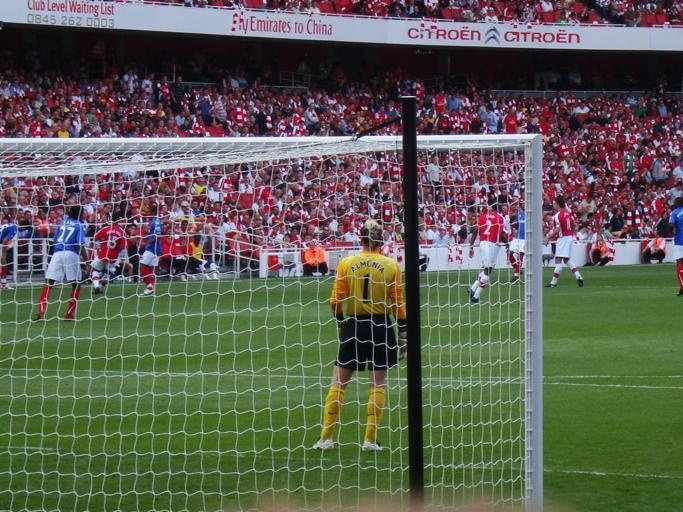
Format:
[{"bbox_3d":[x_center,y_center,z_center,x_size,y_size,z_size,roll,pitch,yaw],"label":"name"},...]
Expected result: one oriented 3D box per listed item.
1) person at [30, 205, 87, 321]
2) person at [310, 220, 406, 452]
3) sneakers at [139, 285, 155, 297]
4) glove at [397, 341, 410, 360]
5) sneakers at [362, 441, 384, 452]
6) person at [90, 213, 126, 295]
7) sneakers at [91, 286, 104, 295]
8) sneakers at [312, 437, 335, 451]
[{"bbox_3d":[-5.082,0.094,23.061,0.931,1.508,0.940,-1,1,-15],"label":"person"},{"bbox_3d":[0.311,1.092,17.944,1.181,3.205,0.456,-1,1,-2],"label":"person"},{"bbox_3d":[-3.833,0.657,25.327,0.151,0.215,0.433,0,1,-27],"label":"sneakers"},{"bbox_3d":[0.872,1.320,17.915,0.144,0.221,0.270,0,14,9],"label":"glove"},{"bbox_3d":[0.447,2.633,18.130,0.284,0.160,0.122,3,-1,-12],"label":"sneakers"},{"bbox_3d":[-4.628,-0.054,25.485,0.692,1.067,1.609,-1,1,-10],"label":"person"},{"bbox_3d":[-4.826,0.636,25.337,0.159,0.198,0.112,4,8,16],"label":"sneakers"},{"bbox_3d":[-0.247,2.608,18.124,0.251,0.151,0.136,1,-2,25],"label":"sneakers"}]
